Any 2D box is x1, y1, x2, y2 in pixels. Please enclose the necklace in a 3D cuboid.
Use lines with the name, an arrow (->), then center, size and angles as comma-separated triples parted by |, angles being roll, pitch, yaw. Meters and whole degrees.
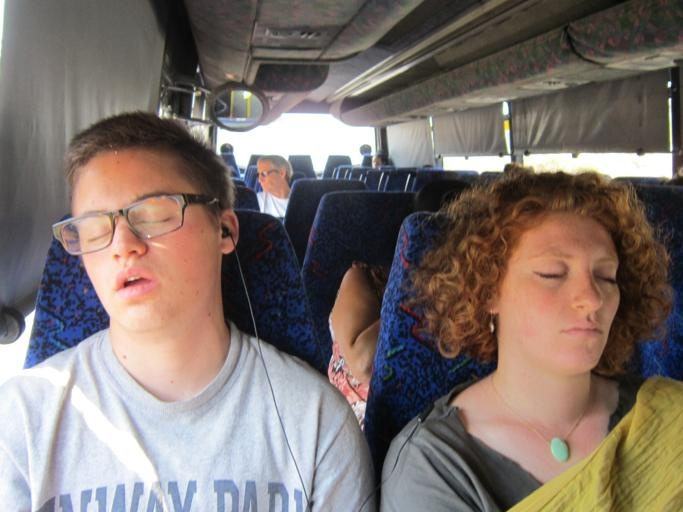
necklace -> 0.563, 0.449, 1.600 | 0.211, 0.222, 0.052 | -3, -17, -14

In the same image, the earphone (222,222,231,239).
earphone -> -0.340, -0.077, 1.697 | 0.025, 0.035, 0.032 | 20, -12, 23

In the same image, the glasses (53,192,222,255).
glasses -> -0.571, -0.088, 1.525 | 0.378, 0.164, 0.129 | 2, 10, 3
